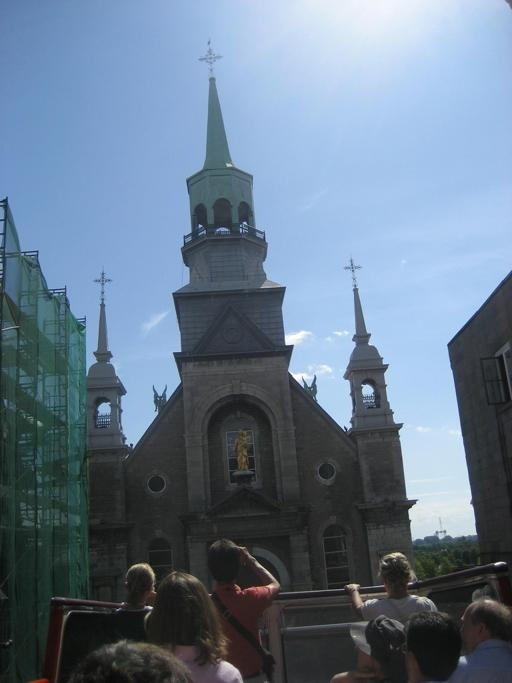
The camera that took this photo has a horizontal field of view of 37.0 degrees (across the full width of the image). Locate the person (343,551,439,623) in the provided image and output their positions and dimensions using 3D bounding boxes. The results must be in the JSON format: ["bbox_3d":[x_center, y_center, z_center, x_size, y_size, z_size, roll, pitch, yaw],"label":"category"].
[{"bbox_3d":[1.038,1.854,5.774,0.644,0.504,0.729,-3,-19,-11],"label":"person"}]
